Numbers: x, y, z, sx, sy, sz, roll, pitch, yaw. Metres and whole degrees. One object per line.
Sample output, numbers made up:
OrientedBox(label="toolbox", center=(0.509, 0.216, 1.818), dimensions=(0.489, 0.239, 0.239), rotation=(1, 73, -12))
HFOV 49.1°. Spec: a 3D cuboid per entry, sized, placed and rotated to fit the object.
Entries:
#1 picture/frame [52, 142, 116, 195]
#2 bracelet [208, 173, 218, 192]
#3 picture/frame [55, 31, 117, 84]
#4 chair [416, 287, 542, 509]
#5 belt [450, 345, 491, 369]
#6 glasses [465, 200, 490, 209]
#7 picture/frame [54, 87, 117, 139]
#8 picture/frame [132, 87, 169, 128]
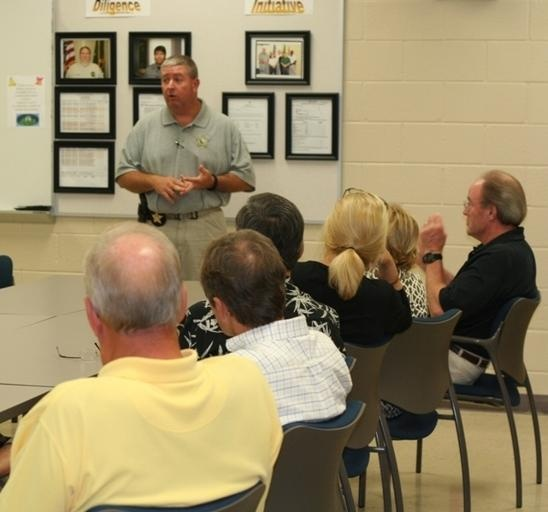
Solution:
OrientedBox(label="picture/frame", center=(-1.175, -0.562, 3.745), dimensions=(0.244, 0.282, 0.022), rotation=(0, 3, 3))
OrientedBox(label="bracelet", center=(-0.330, -0.400, 3.225), dimensions=(0.026, 0.068, 0.072), rotation=(8, 32, -10))
OrientedBox(label="picture/frame", center=(-1.142, -1.238, 3.677), dimensions=(0.234, 0.265, 0.023), rotation=(0, 4, 3))
OrientedBox(label="chair", center=(0.941, 0.595, 3.073), dimensions=(0.635, 1.418, 0.693), rotation=(1, 1, 19))
OrientedBox(label="belt", center=(0.848, 0.440, 2.614), dimensions=(0.101, 0.027, 0.102), rotation=(34, 1, 9))
OrientedBox(label="glasses", center=(0.981, -0.248, 2.897), dimensions=(0.106, 0.044, 0.123), rotation=(2, 0, 23))
OrientedBox(label="picture/frame", center=(-1.163, -0.908, 3.719), dimensions=(0.237, 0.267, 0.021), rotation=(0, 2, 2))
OrientedBox(label="picture/frame", center=(-0.722, -0.885, 3.529), dimensions=(0.238, 0.350, 0.021), rotation=(0, 2, 0))
